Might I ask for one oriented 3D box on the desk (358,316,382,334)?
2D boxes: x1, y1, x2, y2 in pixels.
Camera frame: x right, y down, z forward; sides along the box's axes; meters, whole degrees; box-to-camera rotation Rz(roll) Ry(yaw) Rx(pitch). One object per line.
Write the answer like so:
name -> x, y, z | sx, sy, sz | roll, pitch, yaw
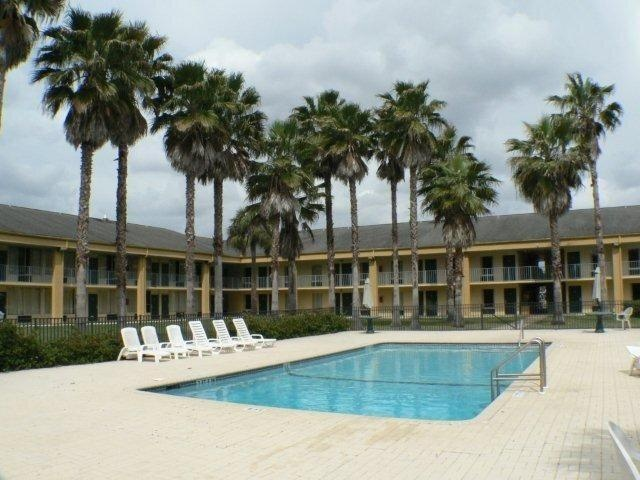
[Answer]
desk -> 2.523, 4.338, 31.611 | 0.826, 0.730, 0.924 | -1, -3, 1
